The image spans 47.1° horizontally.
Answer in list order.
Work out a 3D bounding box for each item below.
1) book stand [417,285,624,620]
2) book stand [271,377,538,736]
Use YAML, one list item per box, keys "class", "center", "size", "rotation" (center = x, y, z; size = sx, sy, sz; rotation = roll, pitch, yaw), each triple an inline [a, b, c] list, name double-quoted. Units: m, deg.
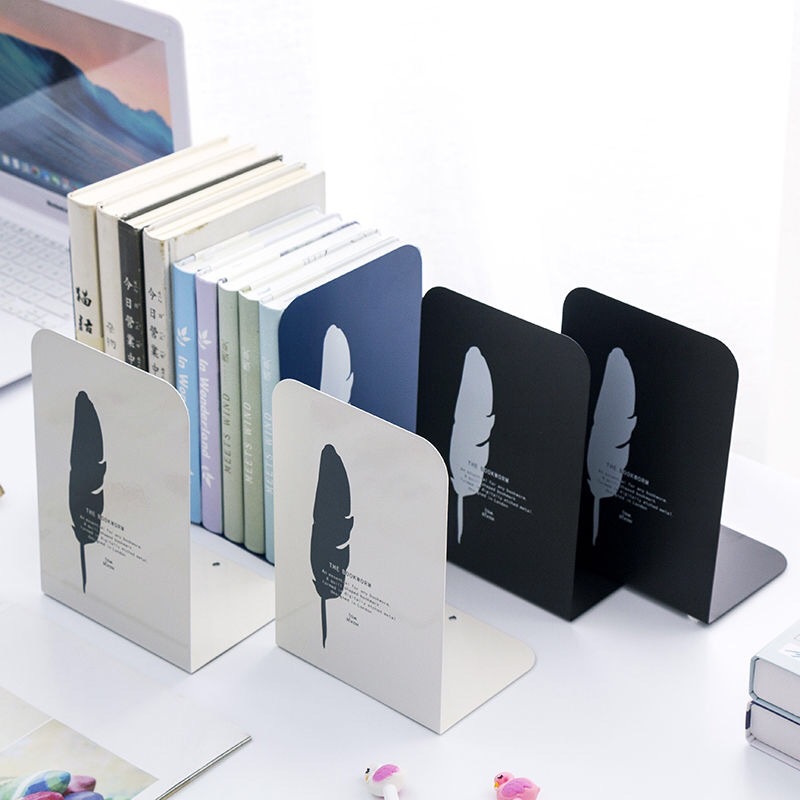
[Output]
- class: "book stand"
  center: [0.105, 0.050, 0.768]
  size: [0.064, 0.234, 0.166]
  rotation: [-26, 41, -36]
- class: "book stand"
  center: [-0.022, 0.082, 0.724]
  size: [0.147, 0.271, 0.161]
  rotation: [6, 35, 3]
